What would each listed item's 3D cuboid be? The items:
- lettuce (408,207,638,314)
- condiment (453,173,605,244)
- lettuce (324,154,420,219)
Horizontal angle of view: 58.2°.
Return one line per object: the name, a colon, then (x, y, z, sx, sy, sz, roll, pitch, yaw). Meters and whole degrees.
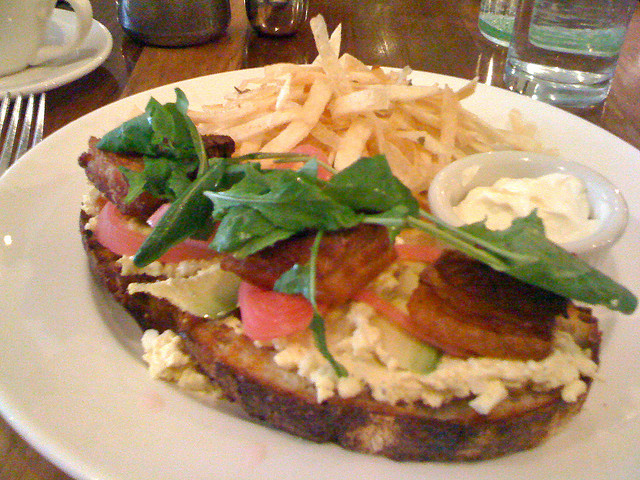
lettuce: (0.450, 0.038, 1.603, 0.758, 0.094, 0.219, 17, 51, 21)
condiment: (0.762, -0.124, 1.995, 0.428, 0.093, 0.311, 0, 29, 7)
lettuce: (0.150, -0.146, 1.561, 0.267, 0.193, 0.095, 3, 58, 3)
